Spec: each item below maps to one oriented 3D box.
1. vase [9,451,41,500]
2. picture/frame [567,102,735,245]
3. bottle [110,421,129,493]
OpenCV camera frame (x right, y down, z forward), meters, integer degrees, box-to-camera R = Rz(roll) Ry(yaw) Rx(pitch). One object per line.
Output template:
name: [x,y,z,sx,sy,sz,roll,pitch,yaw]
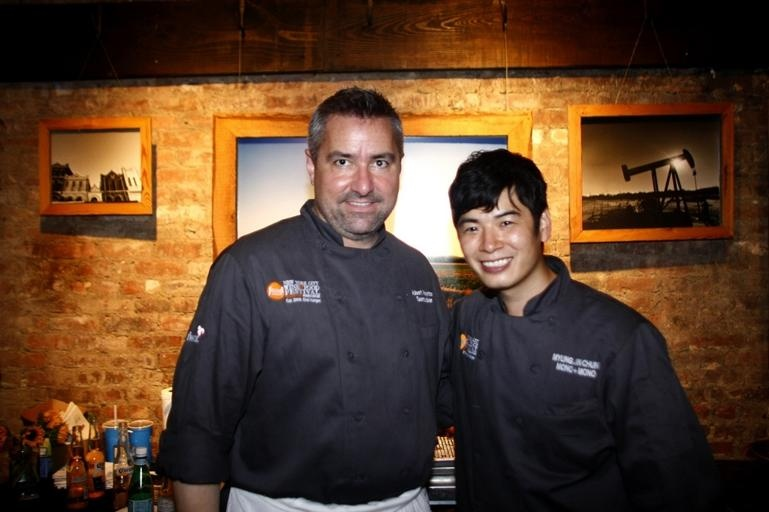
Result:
vase: [-2.495,1.513,4.492,0.166,0.346,0.131,1,-5,-29]
picture/frame: [2.017,-0.617,4.943,1.211,0.905,0.085,-1,0,-1]
bottle: [-1.846,1.414,4.555,0.112,0.444,0.226,1,-5,-22]
